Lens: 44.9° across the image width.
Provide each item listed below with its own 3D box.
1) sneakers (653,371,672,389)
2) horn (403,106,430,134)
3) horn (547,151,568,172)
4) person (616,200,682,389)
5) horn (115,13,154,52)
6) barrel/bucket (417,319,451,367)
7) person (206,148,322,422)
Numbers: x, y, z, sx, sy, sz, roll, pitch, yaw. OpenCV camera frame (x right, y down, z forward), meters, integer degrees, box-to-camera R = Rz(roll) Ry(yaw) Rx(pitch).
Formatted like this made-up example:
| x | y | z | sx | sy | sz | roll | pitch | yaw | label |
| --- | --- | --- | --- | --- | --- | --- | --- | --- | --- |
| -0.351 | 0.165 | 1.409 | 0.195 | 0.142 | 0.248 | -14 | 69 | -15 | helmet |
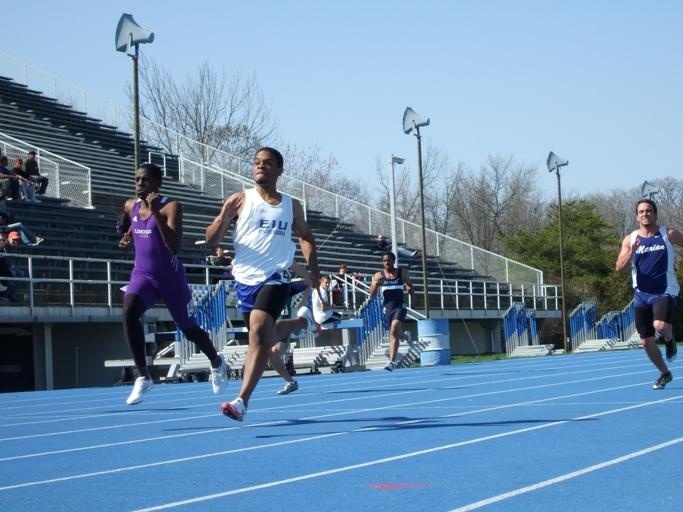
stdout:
| x | y | z | sx | sy | sz | roll | pitch | yaw | label |
| --- | --- | --- | --- | --- | --- | --- | --- | --- | --- |
| 3.569 | 1.365 | 9.183 | 0.116 | 0.152 | 0.358 | 0 | 13 | 43 | sneakers |
| 2.336 | -4.337 | 26.217 | 0.505 | 0.843 | 0.798 | 3 | -6 | -25 | horn |
| 8.840 | -3.893 | 34.225 | 0.539 | 0.732 | 0.540 | 2 | -5 | -7 | horn |
| 3.324 | 0.419 | 8.930 | 0.666 | 2.077 | 0.884 | -1 | -5 | 18 | person |
| -4.418 | -4.794 | 17.669 | 0.563 | 0.841 | 1.033 | 5 | -7 | -40 | horn |
| 1.979 | 1.895 | 18.066 | 0.906 | 1.300 | 0.912 | -1 | -6 | 0 | barrel/bucket |
| -0.679 | 0.208 | 6.896 | 0.826 | 2.380 | 0.964 | -1 | -5 | 16 | person |
